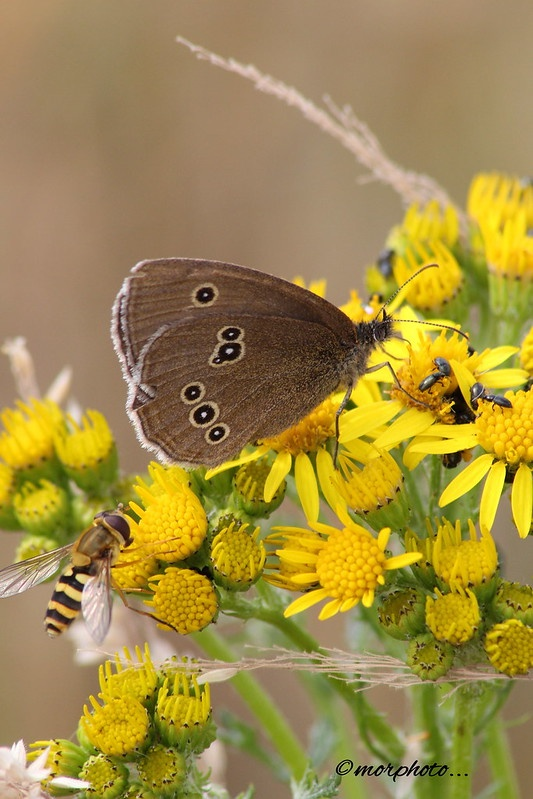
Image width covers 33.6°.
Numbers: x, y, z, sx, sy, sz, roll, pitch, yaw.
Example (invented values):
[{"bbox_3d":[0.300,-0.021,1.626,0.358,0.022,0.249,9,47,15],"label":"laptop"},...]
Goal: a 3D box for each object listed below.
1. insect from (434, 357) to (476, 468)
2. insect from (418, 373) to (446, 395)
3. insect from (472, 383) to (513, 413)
[{"bbox_3d":[0.476,0.075,2.194,0.136,0.161,0.051,-15,16,-35],"label":"insect"},{"bbox_3d":[0.407,-0.041,2.180,0.054,0.016,0.048,-37,30,5],"label":"insect"},{"bbox_3d":[0.538,-0.004,2.098,0.080,0.031,0.059,19,35,29],"label":"insect"}]
